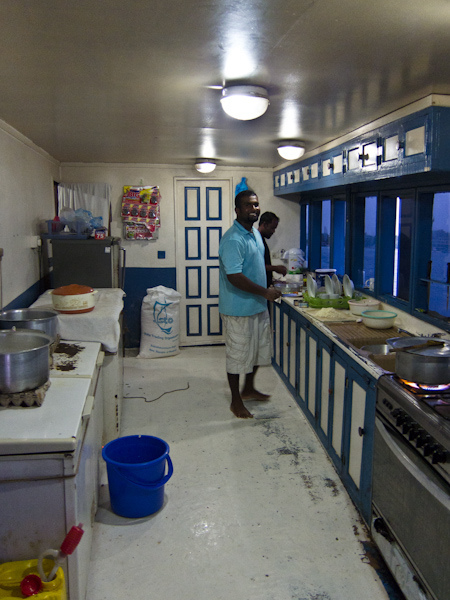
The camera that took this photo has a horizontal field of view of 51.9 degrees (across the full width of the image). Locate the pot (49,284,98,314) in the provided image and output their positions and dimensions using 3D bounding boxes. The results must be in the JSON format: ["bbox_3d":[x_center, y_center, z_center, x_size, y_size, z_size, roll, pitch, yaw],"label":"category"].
[{"bbox_3d":[-0.943,-0.015,2.916,0.232,0.160,0.280,5,10,-26],"label":"pot"}]

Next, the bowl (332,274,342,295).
[{"bbox_3d":[0.965,-0.136,4.019,0.083,0.155,0.226,2,8,14],"label":"bowl"}]

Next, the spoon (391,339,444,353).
[{"bbox_3d":[0.823,0.191,1.951,0.257,0.018,0.081,-5,5,-26],"label":"spoon"}]

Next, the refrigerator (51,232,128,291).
[{"bbox_3d":[-1.196,-0.393,4.479,0.703,0.815,0.473,-1,11,-7],"label":"refrigerator"}]

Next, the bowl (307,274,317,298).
[{"bbox_3d":[0.754,-0.132,4.038,0.089,0.180,0.401,1,8,10],"label":"bowl"}]

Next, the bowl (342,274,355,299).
[{"bbox_3d":[1.028,-0.110,3.889,0.052,0.188,0.192,-4,11,-8],"label":"bowl"}]

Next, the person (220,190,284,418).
[{"bbox_3d":[0.192,0.023,3.706,0.449,1.715,0.750,1,8,4],"label":"person"}]

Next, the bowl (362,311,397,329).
[{"bbox_3d":[1.001,0.132,3.042,0.206,0.094,0.241,2,8,16],"label":"bowl"}]

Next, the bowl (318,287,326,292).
[{"bbox_3d":[0.889,-0.099,4.259,0.052,0.037,0.051,1,6,0],"label":"bowl"}]

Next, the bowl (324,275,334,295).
[{"bbox_3d":[0.894,-0.132,3.992,0.056,0.163,0.166,-6,6,-11],"label":"bowl"}]
